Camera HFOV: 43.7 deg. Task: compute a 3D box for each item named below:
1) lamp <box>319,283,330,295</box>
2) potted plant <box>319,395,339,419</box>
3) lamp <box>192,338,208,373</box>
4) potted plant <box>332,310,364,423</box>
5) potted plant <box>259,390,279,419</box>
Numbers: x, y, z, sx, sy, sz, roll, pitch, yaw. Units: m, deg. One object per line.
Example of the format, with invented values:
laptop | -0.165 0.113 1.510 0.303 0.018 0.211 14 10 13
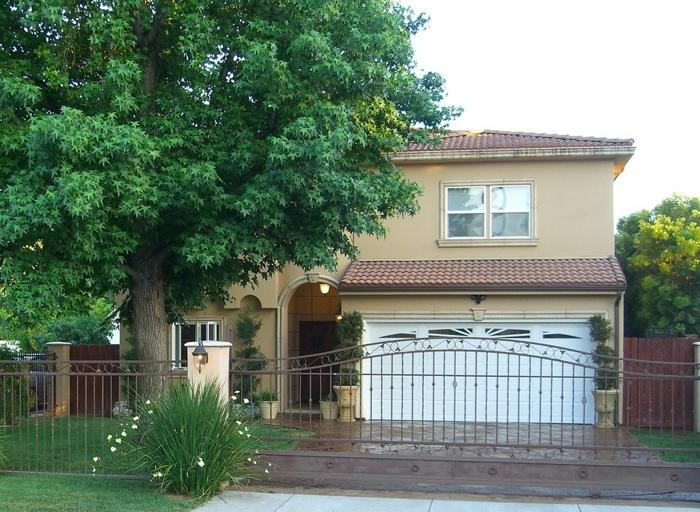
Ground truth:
lamp | -0.713 0.947 24.968 0.346 0.433 0.348 1 -6 0
potted plant | -0.543 4.089 23.497 0.570 0.425 0.575 -1 -9 3
lamp | -2.926 1.998 17.082 0.275 0.544 0.337 2 4 16
potted plant | -0.086 2.962 23.565 0.953 2.903 0.936 0 -7 25
potted plant | -2.220 4.107 23.849 0.608 0.462 0.610 0 -10 -1
